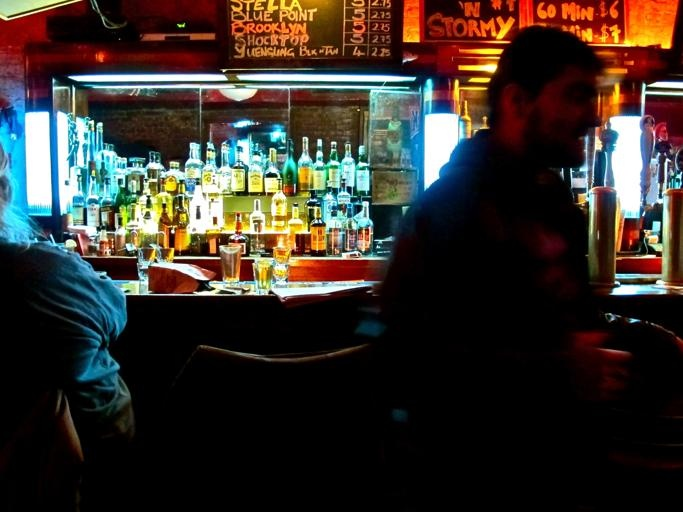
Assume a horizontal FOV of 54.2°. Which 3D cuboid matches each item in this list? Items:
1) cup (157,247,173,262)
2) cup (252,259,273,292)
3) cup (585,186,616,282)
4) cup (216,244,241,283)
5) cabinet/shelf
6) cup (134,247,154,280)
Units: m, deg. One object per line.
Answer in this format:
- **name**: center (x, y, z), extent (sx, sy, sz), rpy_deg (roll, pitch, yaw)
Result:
- **cup**: center (-0.853, -0.006, 3.241), extent (0.073, 0.056, 0.067), rpy_deg (1, 1, 0)
- **cup**: center (-0.348, 0.093, 3.012), extent (0.124, 0.156, 0.125), rpy_deg (-1, 3, 0)
- **cup**: center (1.152, -0.081, 2.972), extent (0.155, 0.459, 0.163), rpy_deg (0, 2, 0)
- **cup**: center (-0.540, 0.033, 3.247), extent (0.094, 0.183, 0.192), rpy_deg (2, 5, -9)
- **cabinet/shelf**: center (-0.638, -0.255, 4.154), extent (1.684, 0.499, 0.829), rpy_deg (3, 5, 2)
- **cup**: center (-0.935, 0.039, 3.194), extent (0.103, 0.168, 0.080), rpy_deg (3, 5, 9)
